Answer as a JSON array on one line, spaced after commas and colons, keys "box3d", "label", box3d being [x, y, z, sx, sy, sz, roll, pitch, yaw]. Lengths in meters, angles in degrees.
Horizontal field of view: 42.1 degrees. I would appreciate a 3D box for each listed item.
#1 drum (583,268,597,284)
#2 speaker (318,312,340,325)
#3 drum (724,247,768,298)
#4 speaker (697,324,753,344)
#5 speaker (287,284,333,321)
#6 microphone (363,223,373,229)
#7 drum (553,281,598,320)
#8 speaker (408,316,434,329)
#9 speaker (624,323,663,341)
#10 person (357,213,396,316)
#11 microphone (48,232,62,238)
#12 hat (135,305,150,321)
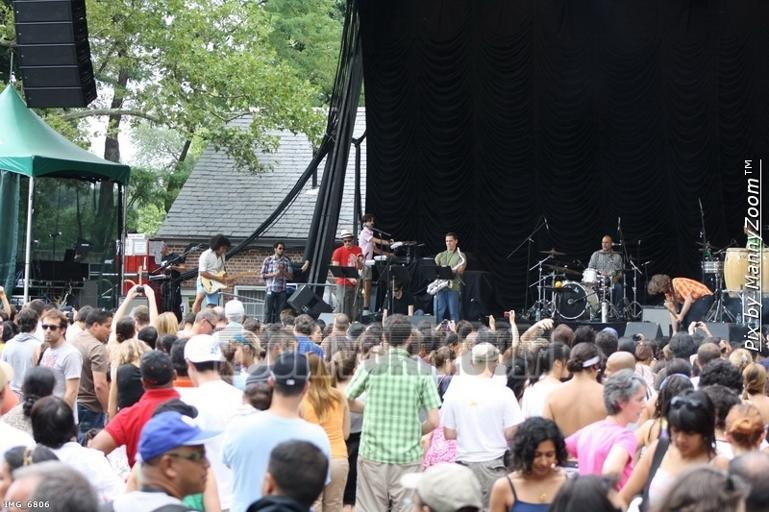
[{"box3d": [4.069, 0.417, 19.887, 0.279, 0.237, 0.264, 3, -14, -4], "label": "drum"}, {"box3d": [-0.979, 1.099, 17.278, 0.339, 0.172, 0.176, 3, -15, 10], "label": "speaker"}, {"box3d": [6.392, 0.272, 17.698, 0.810, 0.716, 0.801, -2, -5, 25], "label": "drum"}, {"box3d": [5.583, 1.254, 16.324, 0.710, 0.362, 0.507, 1, -1, 20], "label": "speaker"}, {"box3d": [-1.389, 0.881, 18.631, 0.679, 0.377, 0.371, 43, -6, -32], "label": "speaker"}, {"box3d": [-0.362, -0.623, 20.296, 0.143, 0.106, 0.138, -18, -16, 3], "label": "microphone"}, {"box3d": [3.736, 0.906, 19.568, 0.609, 0.571, 0.418, -23, -6, 16], "label": "drum"}, {"box3d": [0.582, 1.172, 17.252, 0.534, 0.262, 0.343, -1, -3, -17], "label": "speaker"}, {"box3d": [4.482, 1.308, 17.473, 0.543, 0.308, 0.540, 1, 5, 28], "label": "speaker"}, {"box3d": [-0.191, 0.304, 20.200, 0.957, 2.046, 0.593, -1, -8, -5], "label": "person"}, {"box3d": [-7.183, -0.457, 21.724, 0.179, 0.177, 0.268, 2, -6, 23], "label": "microphone"}, {"box3d": [-3.453, 0.829, 14.222, 0.188, 0.218, 0.231, -1, -6, -40], "label": "hat"}]
